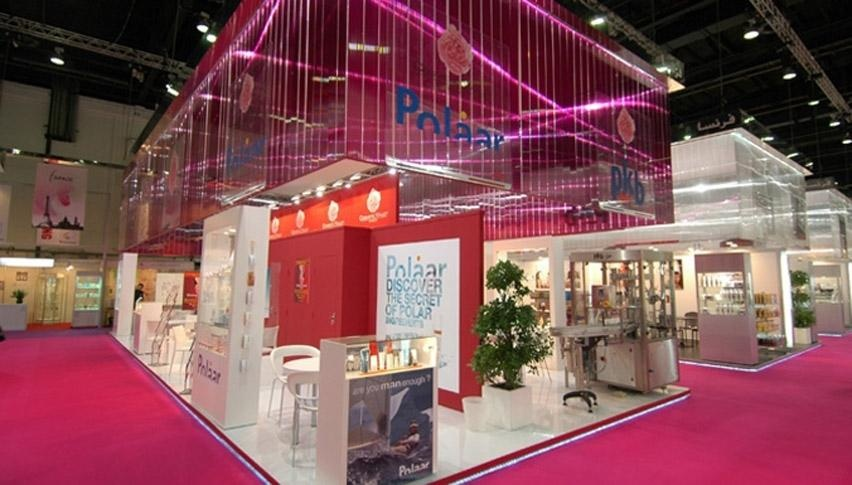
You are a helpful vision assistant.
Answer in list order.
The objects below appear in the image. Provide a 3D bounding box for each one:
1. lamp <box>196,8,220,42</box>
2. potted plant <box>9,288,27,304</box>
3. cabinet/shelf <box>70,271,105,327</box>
[{"bbox_3d":[-6.595,-6.542,16.691,0.522,0.953,1.147,-4,12,-22],"label":"lamp"},{"bbox_3d":[-18.019,2.379,24.308,0.578,0.643,0.564,1,-8,-15],"label":"potted plant"},{"bbox_3d":[-15.151,2.546,24.772,1.340,2.480,0.591,-2,11,-10],"label":"cabinet/shelf"}]
